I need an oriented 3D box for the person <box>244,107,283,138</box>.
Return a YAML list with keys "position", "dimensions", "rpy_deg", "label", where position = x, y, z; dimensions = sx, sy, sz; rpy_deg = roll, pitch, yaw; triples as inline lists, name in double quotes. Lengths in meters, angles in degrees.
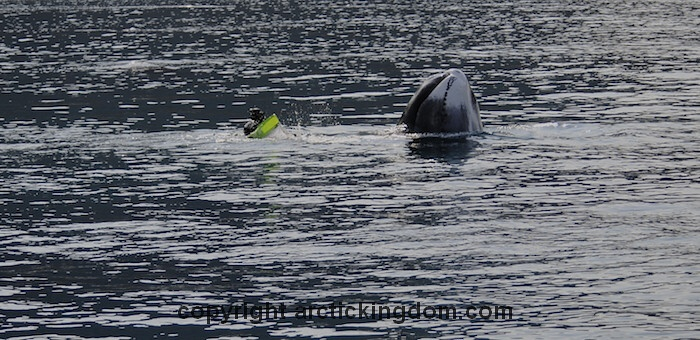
- position: [-3.300, -1.773, 60.753]
  dimensions: [0.964, 1.011, 1.073]
  rpy_deg: [13, 20, 43]
  label: "person"
